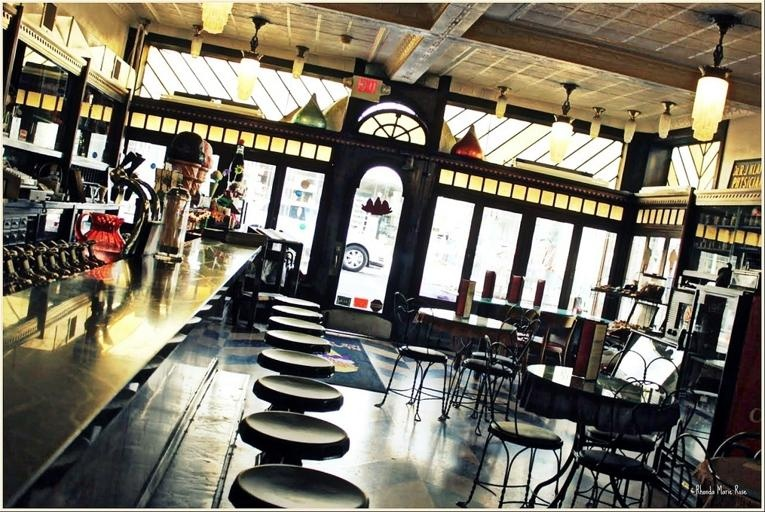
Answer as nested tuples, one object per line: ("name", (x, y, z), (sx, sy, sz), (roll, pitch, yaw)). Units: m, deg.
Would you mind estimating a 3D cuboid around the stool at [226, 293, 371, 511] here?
("stool", (-0.492, 0.780, 3.071), (0.423, 0.412, 1.880), (6, 7, -8))
